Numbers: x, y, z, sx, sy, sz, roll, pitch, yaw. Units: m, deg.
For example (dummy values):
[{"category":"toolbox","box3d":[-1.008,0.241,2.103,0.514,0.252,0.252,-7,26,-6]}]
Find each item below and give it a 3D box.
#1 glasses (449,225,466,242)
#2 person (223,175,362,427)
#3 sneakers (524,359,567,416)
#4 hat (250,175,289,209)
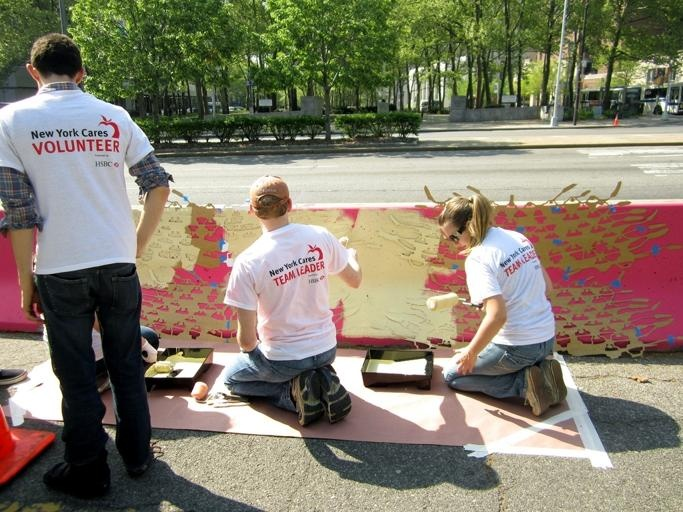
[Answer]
[{"category":"glasses","box3d":[0.834,-0.161,4.213,0.113,0.032,0.092,-37,4,-25]},{"category":"person","box3d":[-0.370,0.324,4.015,0.995,1.700,0.513,-2,17,0]},{"category":"sneakers","box3d":[1.447,0.924,4.167,0.324,0.369,0.182,-11,19,-30]},{"category":"hat","box3d":[-0.487,-0.447,3.981,0.258,0.186,0.245,-3,16,-7]}]
